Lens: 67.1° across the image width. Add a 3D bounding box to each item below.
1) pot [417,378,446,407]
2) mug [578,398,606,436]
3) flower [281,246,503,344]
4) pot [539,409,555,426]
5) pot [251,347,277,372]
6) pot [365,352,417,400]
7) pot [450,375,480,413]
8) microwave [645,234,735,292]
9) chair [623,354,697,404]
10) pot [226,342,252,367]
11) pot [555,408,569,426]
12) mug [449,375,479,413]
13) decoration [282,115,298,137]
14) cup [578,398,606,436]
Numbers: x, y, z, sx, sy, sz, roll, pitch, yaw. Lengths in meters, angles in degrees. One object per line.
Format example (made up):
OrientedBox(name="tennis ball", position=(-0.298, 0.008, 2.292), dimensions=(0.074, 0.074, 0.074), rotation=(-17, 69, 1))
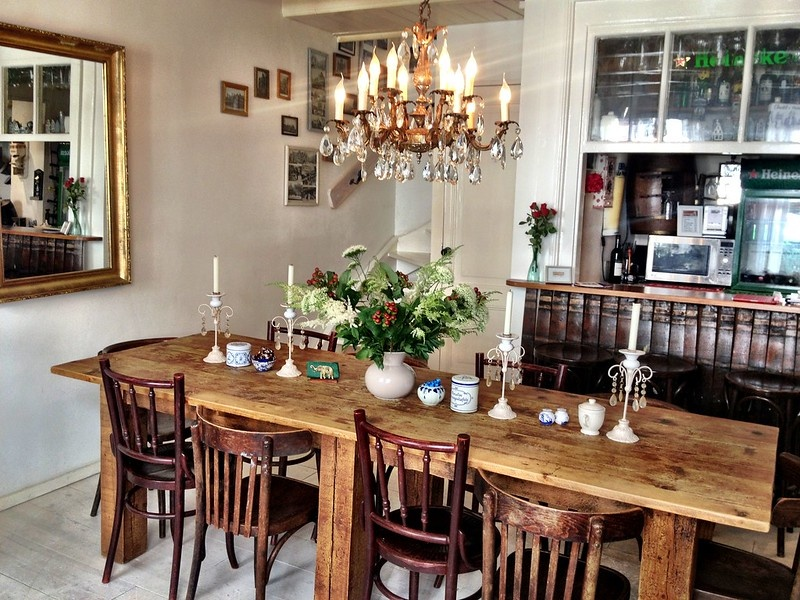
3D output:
OrientedBox(name="pot", position=(0.146, 0.446, 2.944), dimensions=(0.119, 0.122, 0.123), rotation=(2, 7, 0))
OrientedBox(name="mug", position=(0.860, 0.525, 2.672), dimensions=(0.106, 0.137, 0.155), rotation=(0, -1, 21))
OrientedBox(name="flower", position=(-0.040, -0.037, 3.864), dimensions=(0.850, 0.410, 0.631), rotation=(2, 10, 21))
OrientedBox(name="pot", position=(0.676, 0.541, 2.789), dimensions=(0.063, 0.058, 0.065), rotation=(2, -1, 0))
OrientedBox(name="pot", position=(-0.766, 0.334, 3.375), dimensions=(0.117, 0.106, 0.121), rotation=(2, -3, 0))
OrientedBox(name="pot", position=(-0.046, 0.367, 2.926), dimensions=(0.221, 0.206, 0.226), rotation=(2, 8, 0))
OrientedBox(name="pot", position=(0.306, 0.451, 2.896), dimensions=(0.141, 0.159, 0.143), rotation=(3, 8, 0))
OrientedBox(name="microwave", position=(2.726, -0.295, 5.730), dimensions=(0.762, 0.485, 0.532), rotation=(6, -15, 19))
OrientedBox(name="chair", position=(1.862, 0.512, 4.275), dimensions=(0.358, 0.428, 0.385), rotation=(0, 3, -15))
OrientedBox(name="pot", position=(-0.929, 0.310, 3.453), dimensions=(0.127, 0.103, 0.128), rotation=(2, 5, 0))
OrientedBox(name="pot", position=(0.736, 0.534, 2.763), dimensions=(0.067, 0.067, 0.068), rotation=(1, -3, 0))
OrientedBox(name="mug", position=(0.305, 0.448, 2.915), dimensions=(0.153, 0.171, 0.156), rotation=(2, 3, -5))
OrientedBox(name="decoration", position=(-1.027, -1.598, 5.580), dimensions=(0.039, 0.184, 0.246), rotation=(3, 11, 23))
OrientedBox(name="cup", position=(0.852, 0.519, 2.697), dimensions=(0.109, 0.141, 0.148), rotation=(1, 11, 16))
